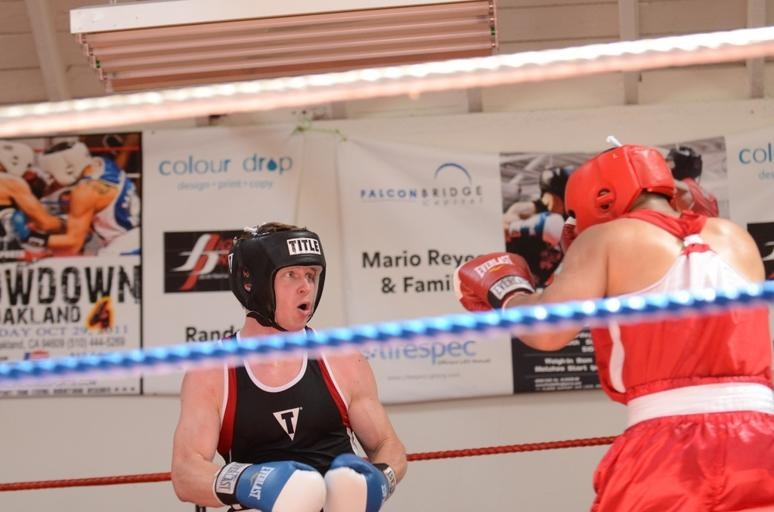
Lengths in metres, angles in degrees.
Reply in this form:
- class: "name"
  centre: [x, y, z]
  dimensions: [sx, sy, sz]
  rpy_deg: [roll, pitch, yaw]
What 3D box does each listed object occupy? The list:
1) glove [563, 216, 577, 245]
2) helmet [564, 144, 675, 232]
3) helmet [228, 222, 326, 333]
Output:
- class: "glove"
  centre: [0.811, -0.113, 4.271]
  dimensions: [0.041, 0.107, 0.081]
  rpy_deg: [14, -9, -4]
- class: "helmet"
  centre: [1.004, -0.240, 4.099]
  dimensions: [0.371, 0.380, 0.457]
  rpy_deg: [-3, -7, -43]
- class: "helmet"
  centre: [-0.563, 0.105, 4.636]
  dimensions: [0.498, 0.480, 0.453]
  rpy_deg: [-2, -1, -2]
